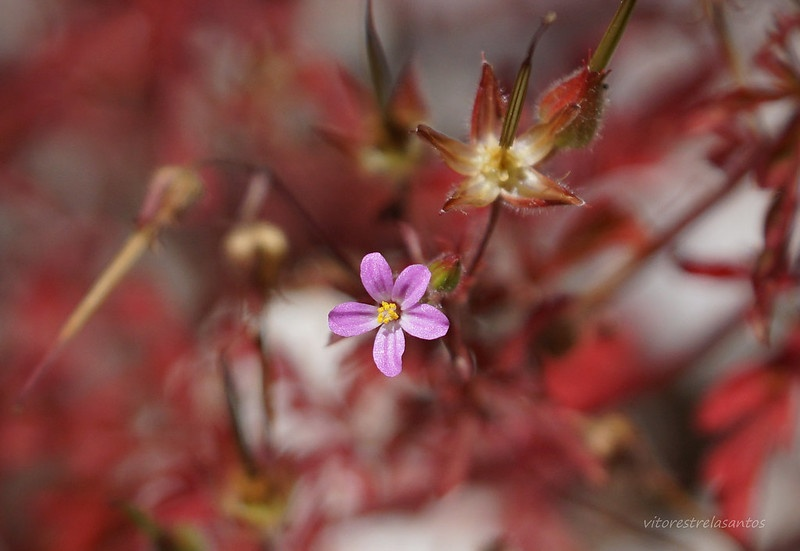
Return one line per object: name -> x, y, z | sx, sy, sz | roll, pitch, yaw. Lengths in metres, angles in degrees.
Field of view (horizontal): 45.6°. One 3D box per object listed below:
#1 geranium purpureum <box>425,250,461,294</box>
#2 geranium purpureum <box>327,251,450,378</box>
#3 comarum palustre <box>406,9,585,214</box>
geranium purpureum -> 0.043, -0.001, 1.012 | 0.037, 0.039, 0.036 | -32, 83, -25
geranium purpureum -> -0.006, 0.038, 0.979 | 0.109, 0.047, 0.106 | 34, 74, 14
comarum palustre -> 0.100, -0.119, 1.067 | 0.186, 0.227, 0.193 | 26, 88, 5
